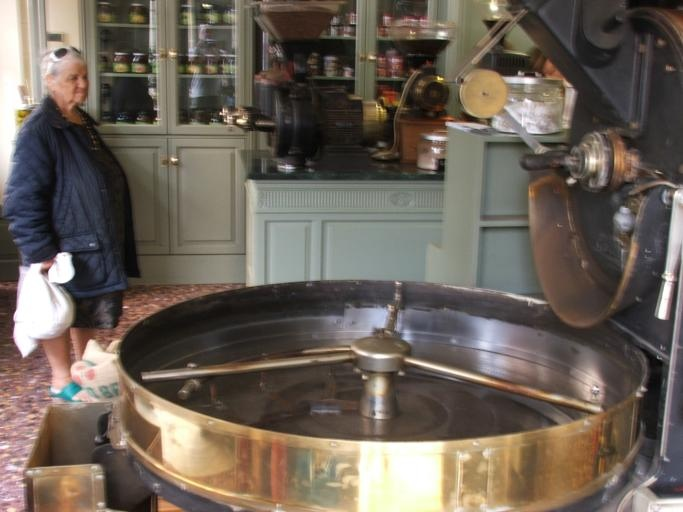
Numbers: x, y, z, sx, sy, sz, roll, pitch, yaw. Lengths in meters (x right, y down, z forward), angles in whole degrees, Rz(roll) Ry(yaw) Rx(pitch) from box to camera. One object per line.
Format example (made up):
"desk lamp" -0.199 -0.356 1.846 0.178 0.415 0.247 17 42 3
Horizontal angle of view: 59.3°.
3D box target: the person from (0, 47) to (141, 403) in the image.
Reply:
"person" -1.141 -0.290 2.595 0.373 1.219 0.618 -1 6 18

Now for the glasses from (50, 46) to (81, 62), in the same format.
"glasses" -1.186 -0.847 2.552 0.099 0.029 0.099 -17 8 29
